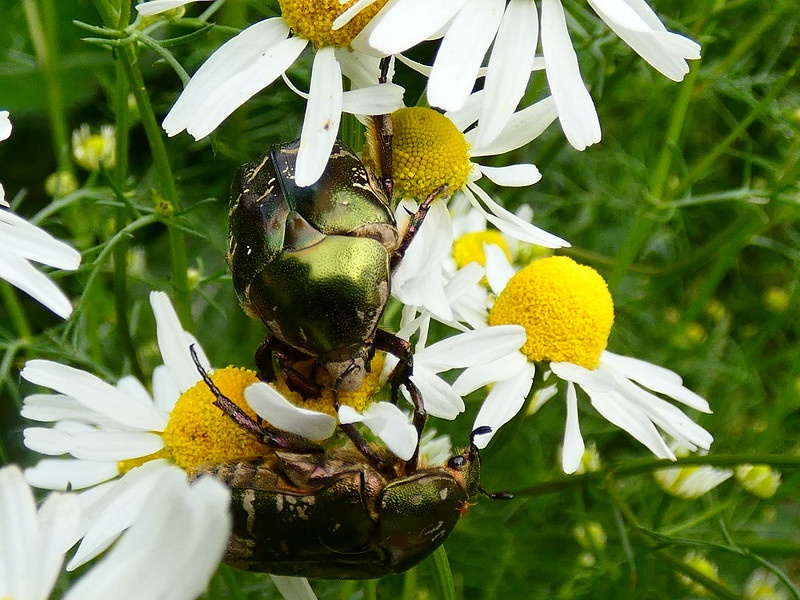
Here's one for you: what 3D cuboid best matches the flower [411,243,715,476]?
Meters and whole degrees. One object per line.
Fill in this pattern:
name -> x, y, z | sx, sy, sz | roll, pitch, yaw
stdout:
flower -> 0.357, 0.108, 1.825 | 0.440, 0.162, 0.483 | 3, 48, -10
